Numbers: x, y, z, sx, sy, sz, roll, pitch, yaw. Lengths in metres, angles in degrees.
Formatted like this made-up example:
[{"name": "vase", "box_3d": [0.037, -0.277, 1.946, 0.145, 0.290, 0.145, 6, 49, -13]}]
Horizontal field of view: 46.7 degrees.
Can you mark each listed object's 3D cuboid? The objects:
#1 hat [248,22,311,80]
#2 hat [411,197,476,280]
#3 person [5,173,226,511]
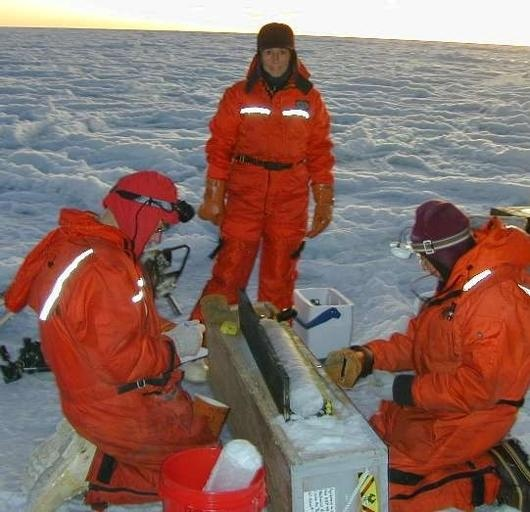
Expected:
[{"name": "hat", "box_3d": [0.054, -1.385, 4.144, 0.328, 0.362, 0.193, 2, 24, 2]}, {"name": "hat", "box_3d": [0.830, -0.090, 2.941, 0.448, 0.364, 0.422, 2, 30, 14]}, {"name": "person", "box_3d": [-0.684, 0.408, 2.794, 0.948, 1.527, 0.841, 4, 24, 5]}]
